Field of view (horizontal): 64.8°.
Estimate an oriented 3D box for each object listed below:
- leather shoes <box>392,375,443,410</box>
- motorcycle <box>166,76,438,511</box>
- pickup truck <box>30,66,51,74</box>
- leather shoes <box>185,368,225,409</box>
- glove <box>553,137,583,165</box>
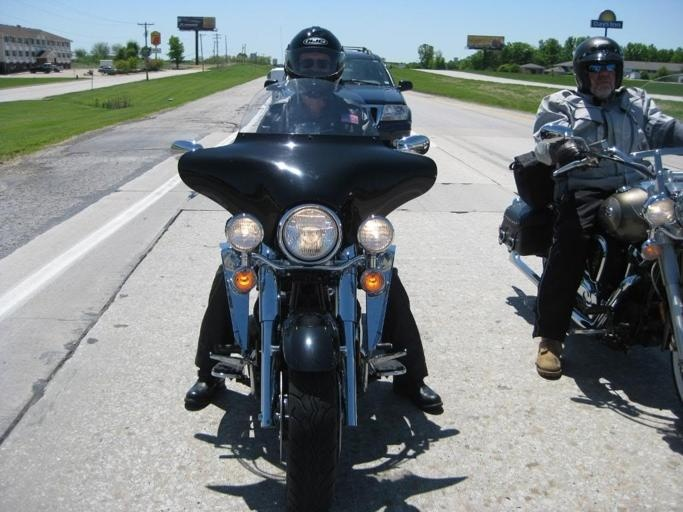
[{"bbox_3d":[0.503,0.881,3.613,0.150,0.165,0.402,-13,19,-38],"label":"leather shoes"},{"bbox_3d":[-0.107,0.109,2.937,1.445,2.081,1.455,-4,18,-16],"label":"motorcycle"},{"bbox_3d":[-54.971,-34.266,98.627,2.854,1.664,5.326,-13,21,-40],"label":"pickup truck"},{"bbox_3d":[-0.905,0.891,3.575,0.132,0.125,0.303,1,1,13],"label":"leather shoes"},{"bbox_3d":[1.456,-0.667,3.458,0.139,0.081,0.186,12,3,4],"label":"glove"}]
